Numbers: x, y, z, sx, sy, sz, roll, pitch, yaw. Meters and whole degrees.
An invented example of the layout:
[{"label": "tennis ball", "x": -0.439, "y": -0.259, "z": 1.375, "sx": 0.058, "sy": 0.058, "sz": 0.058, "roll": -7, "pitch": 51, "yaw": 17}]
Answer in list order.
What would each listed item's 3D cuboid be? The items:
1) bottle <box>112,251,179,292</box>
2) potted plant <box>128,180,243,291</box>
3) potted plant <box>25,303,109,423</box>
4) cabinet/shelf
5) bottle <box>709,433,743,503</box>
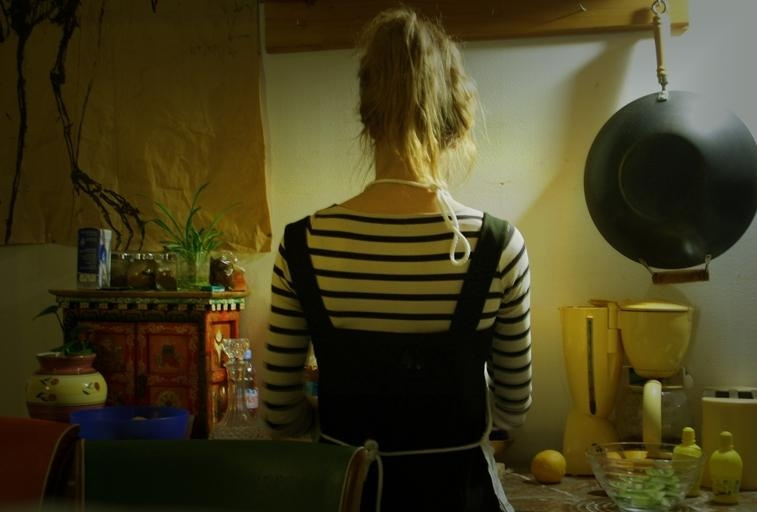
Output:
[{"label": "bottle", "x": -0.883, "y": 0.053, "z": 2.552, "sx": 0.256, "sy": 0.142, "sz": 0.126, "roll": 2, "pitch": 10, "yaw": 1}, {"label": "potted plant", "x": -0.691, "y": -0.077, "z": 2.591, "sx": 0.366, "sy": 0.430, "sz": 0.423, "roll": 0, "pitch": 0, "yaw": -2}, {"label": "potted plant", "x": -1.117, "y": 0.470, "z": 2.372, "sx": 0.239, "sy": 0.336, "sz": 0.227, "roll": 0, "pitch": -12, "yaw": -14}, {"label": "cabinet/shelf", "x": -0.858, "y": 0.439, "z": 2.553, "sx": 0.578, "sy": 0.568, "sz": 0.380, "roll": 0, "pitch": -1, "yaw": 4}, {"label": "bottle", "x": 1.121, "y": 0.684, "z": 2.130, "sx": 0.098, "sy": 0.226, "sz": 0.073, "roll": 1, "pitch": -3, "yaw": 11}]
